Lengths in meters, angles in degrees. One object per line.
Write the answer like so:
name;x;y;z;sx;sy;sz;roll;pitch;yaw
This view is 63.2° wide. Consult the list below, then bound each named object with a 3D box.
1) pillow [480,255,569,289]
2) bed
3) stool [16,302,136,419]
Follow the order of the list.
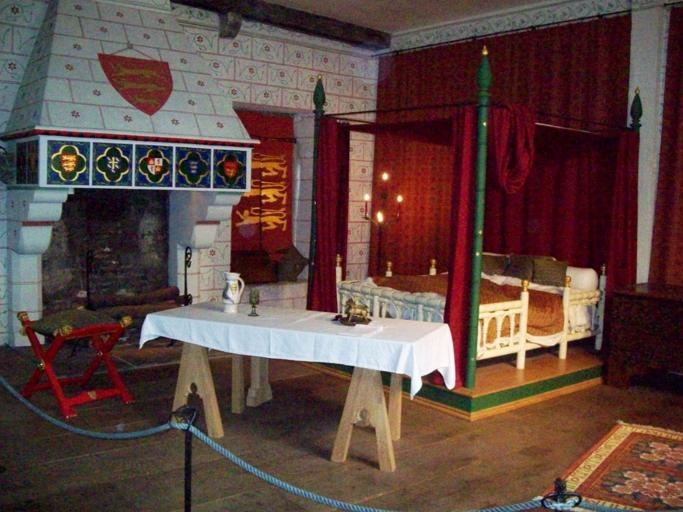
pillow;2.537;0.161;7.626;0.825;0.206;0.548;7;38;31
bed;1.917;0.552;6.790;2.198;0.796;2.048;-2;5;-39
stool;-2.747;1.025;5.679;0.902;0.706;0.944;1;-1;40
